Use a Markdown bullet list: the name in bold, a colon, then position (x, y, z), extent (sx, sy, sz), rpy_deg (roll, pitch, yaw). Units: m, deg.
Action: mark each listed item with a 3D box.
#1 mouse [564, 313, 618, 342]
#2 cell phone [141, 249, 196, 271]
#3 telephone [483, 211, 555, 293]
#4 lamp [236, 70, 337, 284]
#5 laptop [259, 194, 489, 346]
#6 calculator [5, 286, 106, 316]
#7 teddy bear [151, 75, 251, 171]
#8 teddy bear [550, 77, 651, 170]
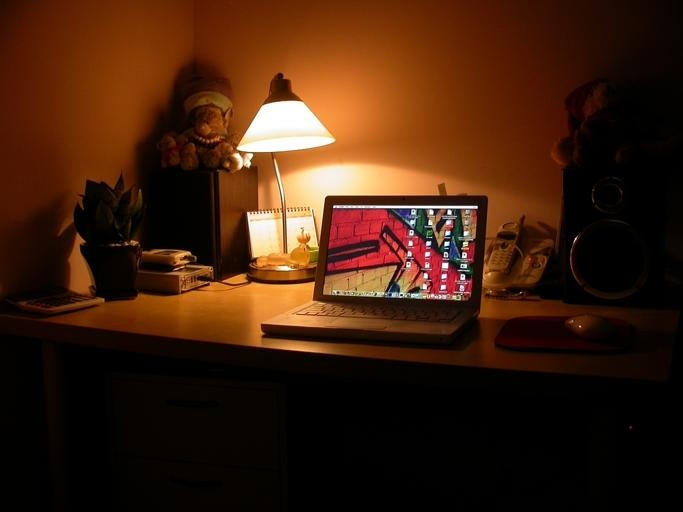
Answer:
- **mouse**: position (0.530, 0.148, 1.230), extent (0.099, 0.047, 0.055), rpy_deg (5, 9, 23)
- **cell phone**: position (-0.499, 0.008, 1.672), extent (0.154, 0.050, 0.120), rpy_deg (-2, 9, -19)
- **telephone**: position (0.490, -0.007, 1.659), extent (0.185, 0.244, 0.239), rpy_deg (7, 13, 16)
- **lamp**: position (-0.187, -0.225, 1.801), extent (0.292, 0.635, 0.305), rpy_deg (-3, 16, -33)
- **laptop**: position (0.140, 0.019, 1.449), extent (0.416, 0.321, 0.379), rpy_deg (0, 0, 19)
- **calculator**: position (-0.714, 0.112, 1.445), extent (0.204, 0.056, 0.179), rpy_deg (17, 13, 41)
- **teddy bear**: position (-0.416, -0.417, 1.827), extent (0.257, 0.320, 0.218), rpy_deg (2, 2, 5)
- **teddy bear**: position (0.698, -0.360, 1.544), extent (0.232, 0.234, 0.200), rpy_deg (5, 9, 28)
